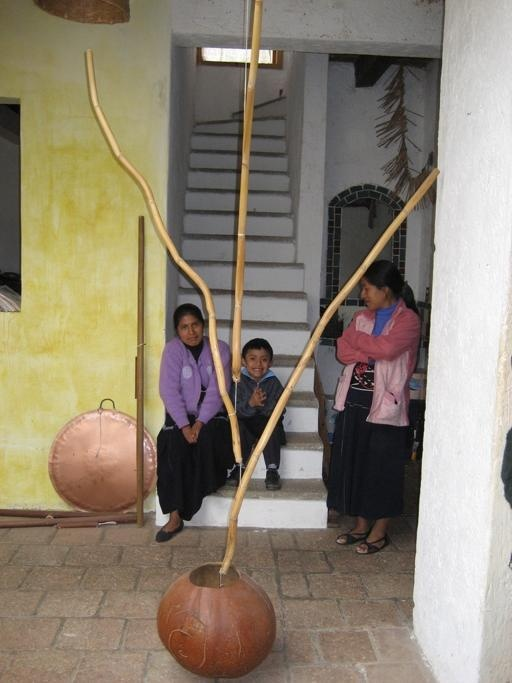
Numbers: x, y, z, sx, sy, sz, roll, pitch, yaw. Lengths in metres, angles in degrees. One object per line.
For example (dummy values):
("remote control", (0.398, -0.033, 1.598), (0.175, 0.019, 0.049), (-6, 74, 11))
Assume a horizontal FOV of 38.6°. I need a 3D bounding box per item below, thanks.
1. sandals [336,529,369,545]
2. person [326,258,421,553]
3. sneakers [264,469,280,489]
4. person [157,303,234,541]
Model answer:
("sandals", (0.403, 0.832, 3.096), (0.127, 0.033, 0.052), (2, 1, -21))
("person", (0.482, 0.265, 3.037), (0.352, 1.206, 0.277), (3, 8, 13))
("sneakers", (0.075, 0.631, 3.314), (0.068, 0.074, 0.116), (1, 8, -1))
("person", (-0.267, 0.335, 3.151), (0.381, 0.985, 0.258), (-2, 8, -21))
